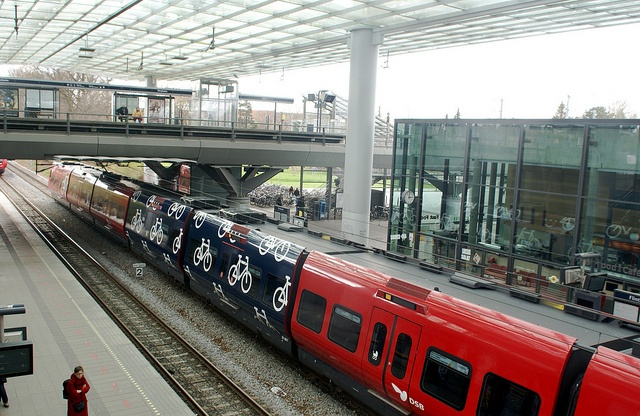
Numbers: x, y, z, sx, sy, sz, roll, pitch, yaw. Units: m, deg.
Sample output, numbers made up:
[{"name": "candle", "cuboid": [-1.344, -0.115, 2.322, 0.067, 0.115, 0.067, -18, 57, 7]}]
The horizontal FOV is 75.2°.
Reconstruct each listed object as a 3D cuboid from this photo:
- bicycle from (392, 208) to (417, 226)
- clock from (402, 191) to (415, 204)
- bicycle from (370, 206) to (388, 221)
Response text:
[{"name": "bicycle", "cuboid": [5.168, 0.547, 25.158, 1.096, 1.027, 0.274, 4, 7, 39]}, {"name": "clock", "cuboid": [5.337, -0.646, 24.781, 0.628, 0.602, 0.215, 20, 6, -20]}, {"name": "bicycle", "cuboid": [6.527, 0.588, 44.801, 2.325, 1.357, 1.404, 4, 6, -4]}]
